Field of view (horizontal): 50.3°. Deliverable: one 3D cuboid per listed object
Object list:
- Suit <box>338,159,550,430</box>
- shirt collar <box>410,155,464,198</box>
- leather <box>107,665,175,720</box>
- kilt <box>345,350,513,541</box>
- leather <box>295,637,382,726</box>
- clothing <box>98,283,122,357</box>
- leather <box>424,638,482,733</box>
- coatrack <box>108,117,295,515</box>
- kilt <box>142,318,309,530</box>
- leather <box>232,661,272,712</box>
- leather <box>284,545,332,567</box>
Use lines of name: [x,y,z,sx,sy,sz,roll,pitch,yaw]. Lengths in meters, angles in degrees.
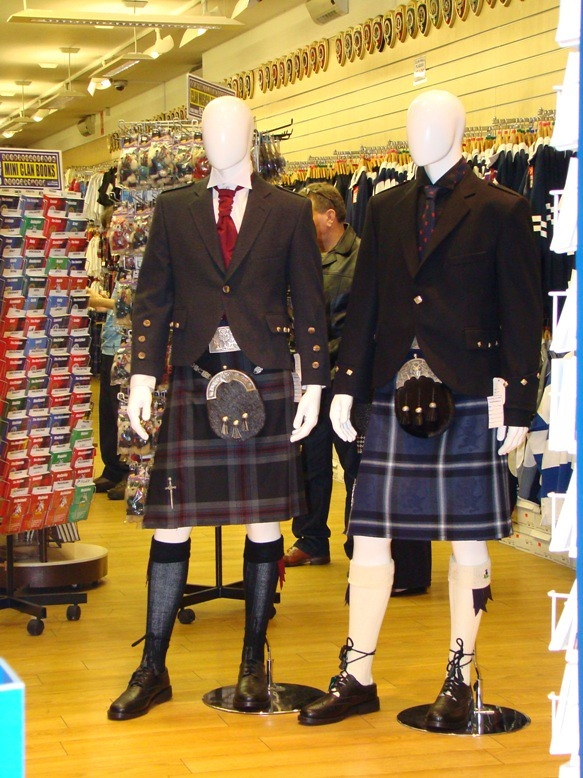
Suit: [0.478,-0.308,2.055,0.652,0.802,0.262,8,21,29]
shirt collar: [0.482,-0.672,2.030,0.113,0.082,0.148,8,-14,-7]
leather: [-0.513,1.038,2.175,0.096,0.116,0.241,0,0,31]
kilt: [0.450,0.182,1.973,0.626,0.807,0.087,2,6,10]
leather: [0.163,0.992,2.120,0.292,0.243,0.117,1,-8,-28]
clothing: [-1.509,-0.636,5.349,0.223,0.483,0.161,2,6,37]
leather: [0.535,0.979,2.060,0.109,0.249,0.261,-6,-5,40]
coatrack: [-0.561,-0.439,3.238,1.015,1.860,0.316,1,-1,20]
kilt: [-0.220,0.109,2.075,0.718,0.840,0.119,2,15,-2]
leather: [-0.145,1.031,2.161,0.080,0.090,0.218,0,-2,2]
leather: [0.076,1.047,3.995,0.329,0.165,0.139,3,-1,-13]
